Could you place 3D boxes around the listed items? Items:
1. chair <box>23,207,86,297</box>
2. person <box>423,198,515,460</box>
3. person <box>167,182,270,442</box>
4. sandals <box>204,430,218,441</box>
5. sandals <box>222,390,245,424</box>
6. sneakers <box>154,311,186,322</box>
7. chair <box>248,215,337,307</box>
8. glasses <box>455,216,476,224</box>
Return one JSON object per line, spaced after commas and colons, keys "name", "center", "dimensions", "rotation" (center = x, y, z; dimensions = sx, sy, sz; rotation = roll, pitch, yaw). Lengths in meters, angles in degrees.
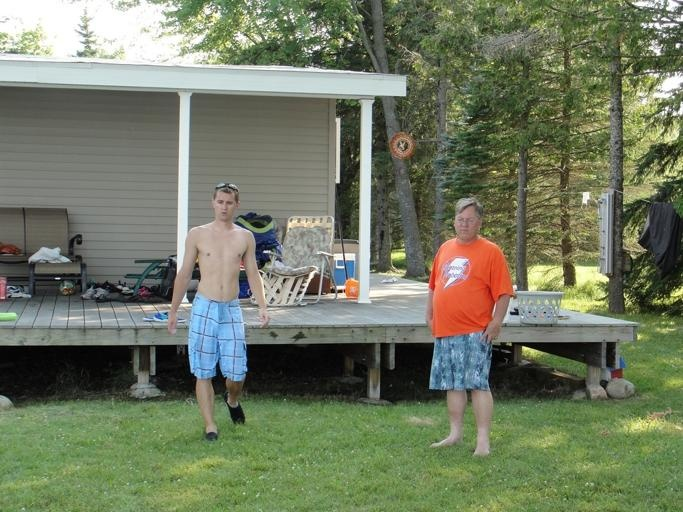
{"name": "chair", "center": [-4.194, -0.109, 12.062], "dimensions": [0.760, 0.940, 1.508], "rotation": [0, 12, -26]}
{"name": "person", "center": [1.095, 0.605, 7.403], "dimensions": [0.759, 2.234, 0.472], "rotation": [7, 10, 42]}
{"name": "person", "center": [-1.124, 0.465, 7.664], "dimensions": [0.595, 2.257, 0.752], "rotation": [8, 10, 43]}
{"name": "sandals", "center": [-1.152, 1.599, 7.421], "dimensions": [0.108, 0.067, 0.093], "rotation": [-1, 7, -13]}
{"name": "sandals", "center": [-0.977, 1.450, 7.879], "dimensions": [0.139, 0.374, 0.150], "rotation": [-25, 6, -24]}
{"name": "sneakers", "center": [-1.990, 0.702, 9.603], "dimensions": [0.445, 0.168, 0.156], "rotation": [4, 1, -13]}
{"name": "chair", "center": [-0.624, 0.040, 11.654], "dimensions": [0.799, 0.989, 1.389], "rotation": [3, 15, 19]}
{"name": "glasses", "center": [1.091, -0.313, 7.301], "dimensions": [0.174, 0.068, 0.057], "rotation": [2, 7, 8]}
